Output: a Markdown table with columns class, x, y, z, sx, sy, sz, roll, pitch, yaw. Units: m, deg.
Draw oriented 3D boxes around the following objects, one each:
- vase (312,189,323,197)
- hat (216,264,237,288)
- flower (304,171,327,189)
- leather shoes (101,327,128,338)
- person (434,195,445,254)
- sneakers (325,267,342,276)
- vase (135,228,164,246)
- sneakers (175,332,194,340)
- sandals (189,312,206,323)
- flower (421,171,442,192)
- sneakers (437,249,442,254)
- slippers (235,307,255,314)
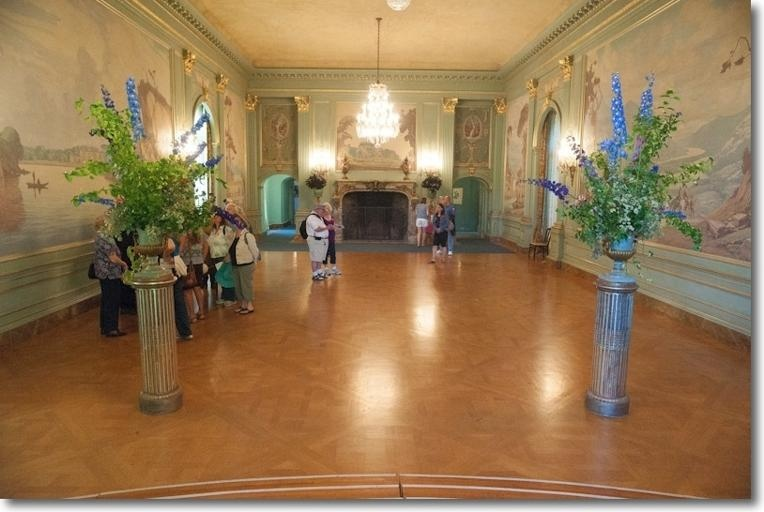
| class | x | y | z | sx | sy | sz | roll | pitch | yaw |
| --- | --- | --- | --- | --- | --- | --- | --- | --- | --- |
| vase | -2.568 | -2.517 | 18.499 | 0.333 | 0.269 | 0.157 | -1 | 10 | -9 |
| hat | -3.115 | 0.393 | 9.100 | 0.388 | 0.505 | 0.183 | 3 | 11 | -9 |
| flower | -2.643 | -2.970 | 18.223 | 0.731 | 0.620 | 0.723 | -6 | 6 | -24 |
| leather shoes | -4.517 | 1.281 | 7.692 | 0.320 | 0.125 | 0.166 | -2 | 6 | -21 |
| person | 1.775 | -0.789 | 13.868 | 0.414 | 1.723 | 1.049 | 2 | 10 | 8 |
| sneakers | -1.234 | 0.409 | 12.077 | 0.529 | 0.242 | 0.177 | -1 | 6 | -4 |
| vase | -2.800 | -0.220 | 5.487 | 0.226 | 0.144 | 0.221 | 3 | 5 | 4 |
| sneakers | -3.237 | 1.323 | 7.474 | 0.235 | 0.100 | 0.094 | 5 | 7 | 18 |
| sandals | -3.360 | 1.131 | 8.392 | 0.279 | 0.113 | 0.212 | -5 | 11 | -33 |
| flower | 2.035 | -2.945 | 18.443 | 0.793 | 0.800 | 0.782 | 0 | 0 | -6 |
| sneakers | 1.849 | -0.105 | 14.726 | 0.139 | 0.130 | 0.233 | 3 | 2 | 5 |
| slippers | -2.635 | 1.050 | 8.796 | 0.242 | 0.081 | 0.135 | 2 | 2 | -23 |
